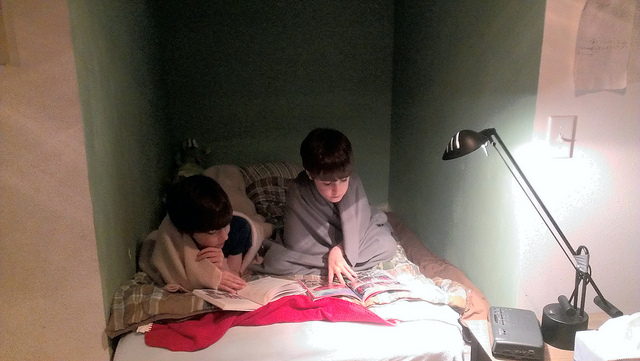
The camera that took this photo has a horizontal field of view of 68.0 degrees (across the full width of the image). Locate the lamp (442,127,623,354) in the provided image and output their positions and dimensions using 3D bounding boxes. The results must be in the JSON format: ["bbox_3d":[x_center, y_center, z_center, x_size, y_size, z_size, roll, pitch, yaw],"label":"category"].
[{"bbox_3d":[1.188,0.297,2.646,0.426,1.208,1.015,-28,-39,27],"label":"lamp"}]

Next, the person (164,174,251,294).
[{"bbox_3d":[-0.583,0.348,2.841,0.571,0.831,0.290,-9,-35,14],"label":"person"}]

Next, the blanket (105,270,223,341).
[{"bbox_3d":[-0.925,0.702,2.687,0.418,0.372,0.093,-9,-59,-24],"label":"blanket"}]

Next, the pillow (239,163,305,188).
[{"bbox_3d":[-0.396,-0.080,3.952,0.361,0.274,0.078,-3,-66,-17],"label":"pillow"}]
